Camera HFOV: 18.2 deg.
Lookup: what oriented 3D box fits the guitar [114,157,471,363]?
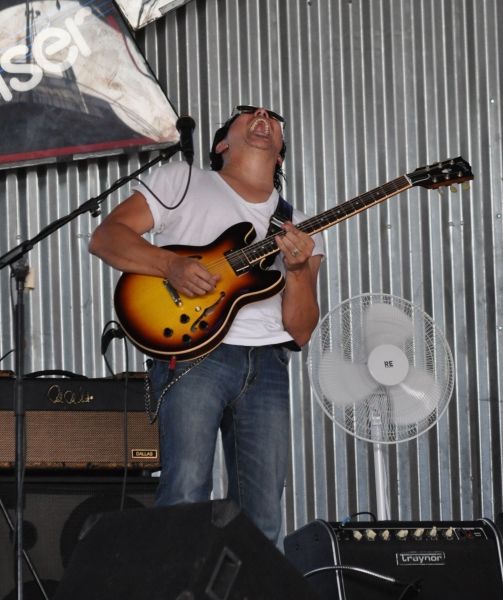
[{"bbox_3d":[0.170,-0.199,5.449,1.347,0.480,0.140,-27,-10,-21],"label":"guitar"}]

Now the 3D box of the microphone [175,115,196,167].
[{"bbox_3d":[-0.235,-0.586,5.685,0.083,0.196,0.085,-6,30,-13],"label":"microphone"}]

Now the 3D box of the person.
[{"bbox_3d":[-0.091,0.179,5.285,0.797,1.974,0.579,11,-19,-20],"label":"person"}]
